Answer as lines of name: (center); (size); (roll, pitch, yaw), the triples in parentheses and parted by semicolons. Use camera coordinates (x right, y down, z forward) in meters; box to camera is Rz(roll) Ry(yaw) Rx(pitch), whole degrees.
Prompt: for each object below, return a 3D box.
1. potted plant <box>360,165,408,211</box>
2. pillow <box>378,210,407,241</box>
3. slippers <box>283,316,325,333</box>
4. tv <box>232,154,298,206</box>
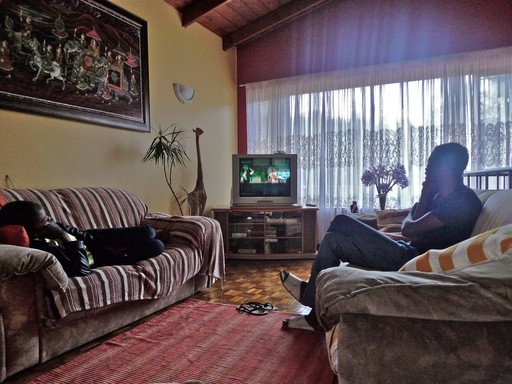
potted plant: (1.490, -0.046, 4.512); (0.536, 0.665, 0.523); (-1, -1, 7)
pillow: (1.241, 0.293, 3.577); (0.282, 0.089, 0.294); (-19, 38, 27)
slippers: (0.298, 0.875, 2.563); (0.299, 0.112, 0.103); (4, -4, 19)
tv: (0.087, -0.144, 5.124); (1.064, 0.911, 0.580); (1, 4, 0)
